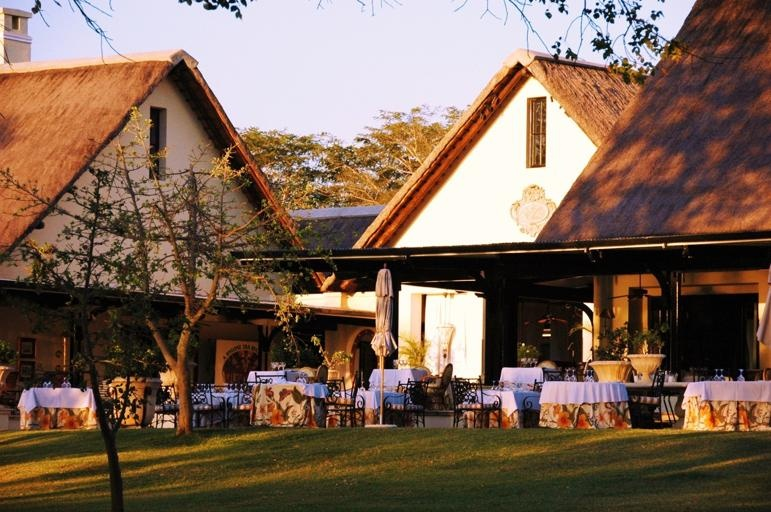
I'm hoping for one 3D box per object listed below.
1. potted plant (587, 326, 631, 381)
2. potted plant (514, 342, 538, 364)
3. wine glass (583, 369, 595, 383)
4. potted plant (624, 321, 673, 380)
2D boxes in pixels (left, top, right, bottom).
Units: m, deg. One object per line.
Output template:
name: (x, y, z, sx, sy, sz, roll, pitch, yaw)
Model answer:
potted plant: (5.556, 2.410, 36.413, 1.229, 1.575, 1.148, 0, -1, -24)
potted plant: (3.963, 2.722, 41.638, 0.655, 0.720, 0.701, -5, -8, 33)
wine glass: (4.917, 2.864, 35.585, 0.276, 0.411, 0.259, 4, -31, -3)
potted plant: (6.303, 2.448, 36.378, 0.917, 1.584, 1.454, 4, -1, 9)
